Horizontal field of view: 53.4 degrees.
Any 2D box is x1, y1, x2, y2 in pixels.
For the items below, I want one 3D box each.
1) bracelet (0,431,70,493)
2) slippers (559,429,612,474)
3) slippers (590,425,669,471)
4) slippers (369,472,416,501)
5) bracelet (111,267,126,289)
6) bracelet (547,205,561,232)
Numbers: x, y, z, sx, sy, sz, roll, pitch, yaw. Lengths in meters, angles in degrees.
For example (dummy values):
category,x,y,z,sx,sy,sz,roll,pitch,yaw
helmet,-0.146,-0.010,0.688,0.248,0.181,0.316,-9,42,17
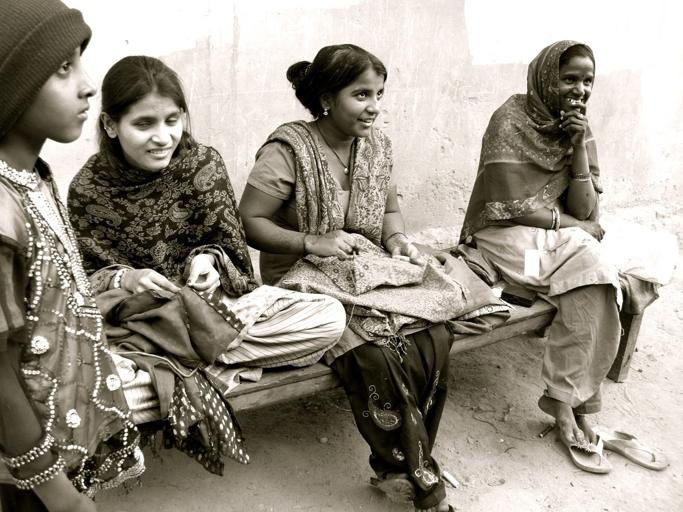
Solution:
category,x,y,z,sx,sy,sz,roll,pitch,yaw
bracelet,-0.954,0.634,2.160,0.150,0.145,0.191,-30,0,-17
slippers,1.301,1.040,3.583,0.221,0.126,0.214,-1,16,-3
slippers,1.547,1.033,3.658,0.348,0.099,0.157,22,32,40
slippers,0.236,1.075,3.165,0.165,0.144,0.062,-11,10,28
bracelet,-0.974,0.100,2.998,0.027,0.077,0.061,25,-8,-5
bracelet,1.221,-0.202,3.964,0.046,0.114,0.102,4,9,5
